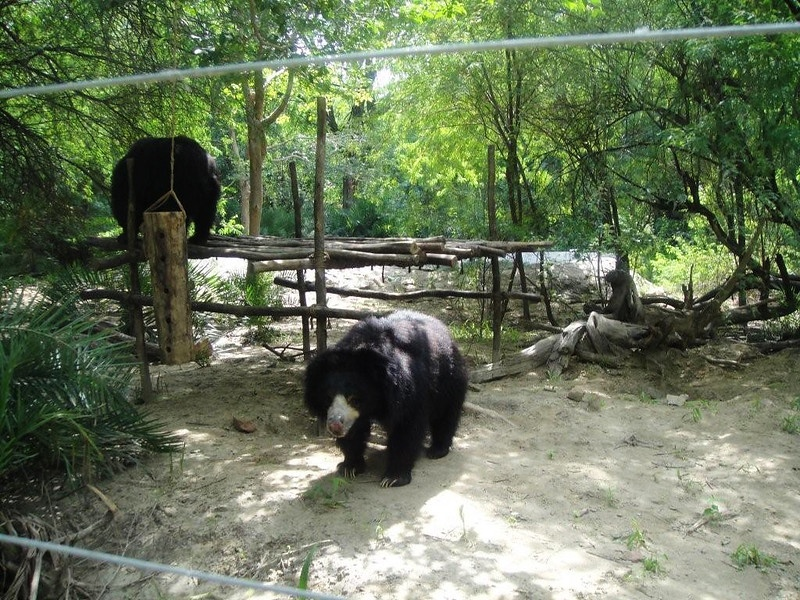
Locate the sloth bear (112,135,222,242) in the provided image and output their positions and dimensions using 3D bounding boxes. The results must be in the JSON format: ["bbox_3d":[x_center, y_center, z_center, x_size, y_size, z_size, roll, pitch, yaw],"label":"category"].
[{"bbox_3d":[-2.837,-1.354,8.603,1.315,1.356,0.666,-3,5,-24],"label":"sloth bear"}]
